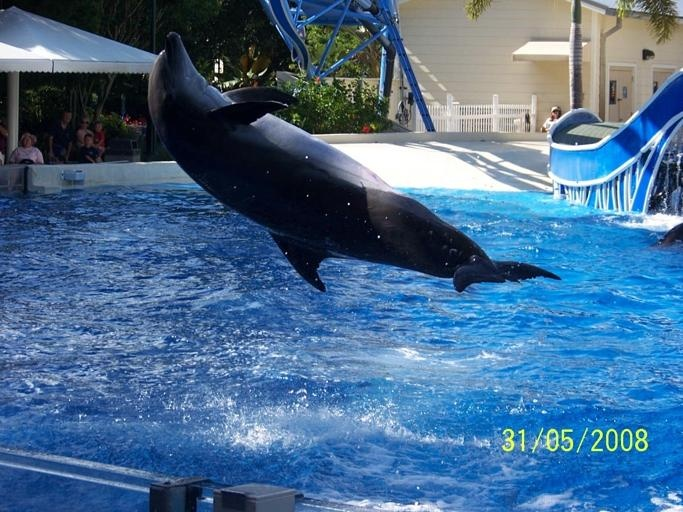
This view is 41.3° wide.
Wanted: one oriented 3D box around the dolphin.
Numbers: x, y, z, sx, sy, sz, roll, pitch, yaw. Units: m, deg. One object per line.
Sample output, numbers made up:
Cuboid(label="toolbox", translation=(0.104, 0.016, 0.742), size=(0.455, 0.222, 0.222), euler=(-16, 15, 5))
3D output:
Cuboid(label="dolphin", translation=(-0.272, -0.678, 7.073), size=(2.526, 1.956, 0.536), euler=(2, 7, 2))
